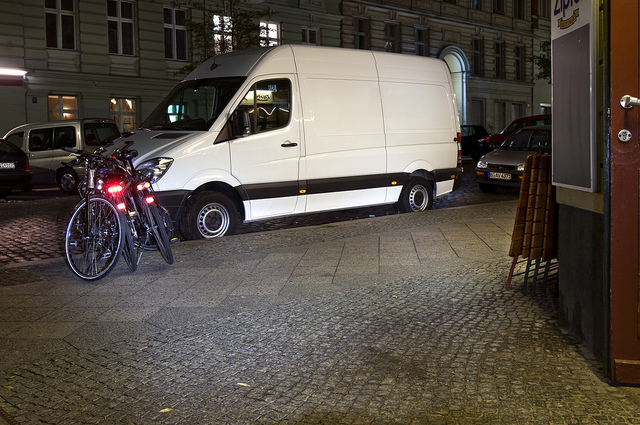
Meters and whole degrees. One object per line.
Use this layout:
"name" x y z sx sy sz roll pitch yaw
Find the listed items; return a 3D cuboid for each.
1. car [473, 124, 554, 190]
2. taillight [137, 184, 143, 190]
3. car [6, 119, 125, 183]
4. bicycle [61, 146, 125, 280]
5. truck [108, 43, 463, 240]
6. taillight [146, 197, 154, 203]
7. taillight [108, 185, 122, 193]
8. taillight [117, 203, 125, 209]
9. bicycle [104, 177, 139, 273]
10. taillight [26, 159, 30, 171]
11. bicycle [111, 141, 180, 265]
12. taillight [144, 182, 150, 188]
"car" 7.011 -1.945 14.914 2.284 2.257 1.553 -4 7 -21
"taillight" -2.821 -0.392 6.457 0.077 0.079 0.018 12 2 -28
"car" -9.185 -2.174 14.690 4.477 2.268 2.782 3 9 18
"bicycle" -3.490 0.066 6.614 0.917 1.166 1.935 0 22 -28
"truck" -0.290 -1.828 9.797 7.665 4.260 1.678 -5 7 -27
"taillight" -2.694 -0.193 6.528 0.099 0.079 0.023 -3 6 -16
"taillight" -3.112 -0.347 6.271 0.189 0.091 0.066 -7 9 -34
"taillight" -2.967 -0.091 6.158 0.029 0.084 0.095 5 9 44
"bicycle" -2.965 0.155 6.228 0.230 1.152 1.121 -4 -8 -8
"taillight" -11.603 -1.870 16.370 0.066 0.444 0.167 -4 7 -22
"bicycle" -2.713 -0.152 6.707 0.636 1.532 2.232 0 5 7
"taillight" -2.755 -0.434 6.578 0.048 0.084 0.114 -1 8 0
